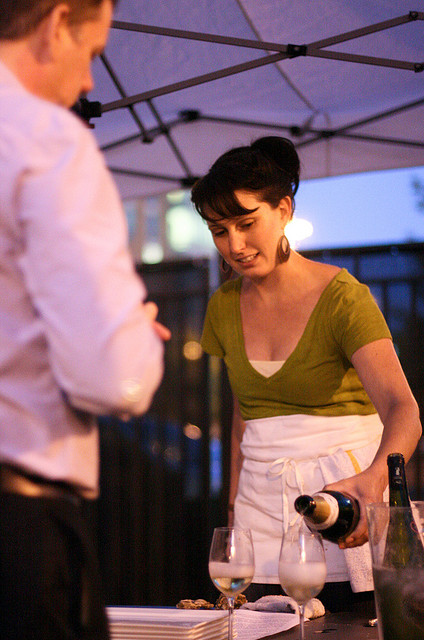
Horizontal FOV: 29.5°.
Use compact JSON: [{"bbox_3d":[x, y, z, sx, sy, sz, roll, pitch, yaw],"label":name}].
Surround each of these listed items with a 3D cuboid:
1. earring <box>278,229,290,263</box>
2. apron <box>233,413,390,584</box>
[{"bbox_3d":[0.180,-0.179,2.020,0.027,0.065,0.049,2,12,12],"label":"earring"},{"bbox_3d":[0.191,0.387,1.974,0.450,0.386,0.369,3,1,-43],"label":"apron"}]
